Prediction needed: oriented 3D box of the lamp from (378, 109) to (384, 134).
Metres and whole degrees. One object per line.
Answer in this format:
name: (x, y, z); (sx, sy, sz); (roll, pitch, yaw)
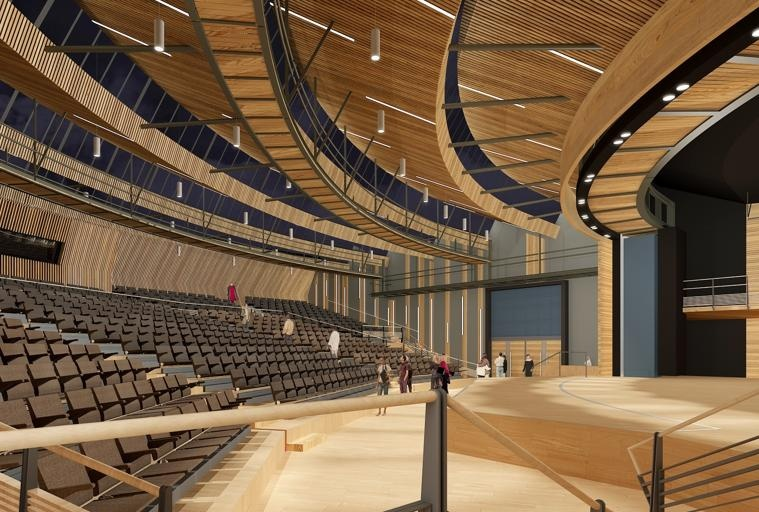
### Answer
lamp: (0.036, -3.597, 14.516); (0.113, 0.527, 0.441); (2, -13, 9)

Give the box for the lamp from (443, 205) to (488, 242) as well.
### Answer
lamp: (4.502, -1.742, 28.470); (2.664, 1.692, 1.221); (3, -13, 6)
